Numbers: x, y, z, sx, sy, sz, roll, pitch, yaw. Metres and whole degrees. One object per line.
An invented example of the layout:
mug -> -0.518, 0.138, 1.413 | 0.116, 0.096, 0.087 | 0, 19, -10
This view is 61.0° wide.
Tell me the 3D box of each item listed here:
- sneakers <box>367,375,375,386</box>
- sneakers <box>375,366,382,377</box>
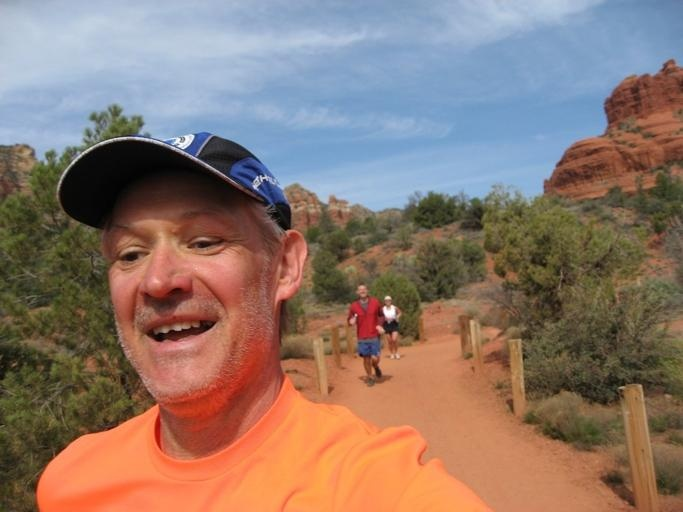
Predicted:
sneakers -> 0.646, 2.833, 13.058 | 0.196, 0.236, 0.131 | -9, -8, 9
sneakers -> 0.853, 2.730, 13.616 | 0.127, 0.308, 0.273 | -5, -4, 1
